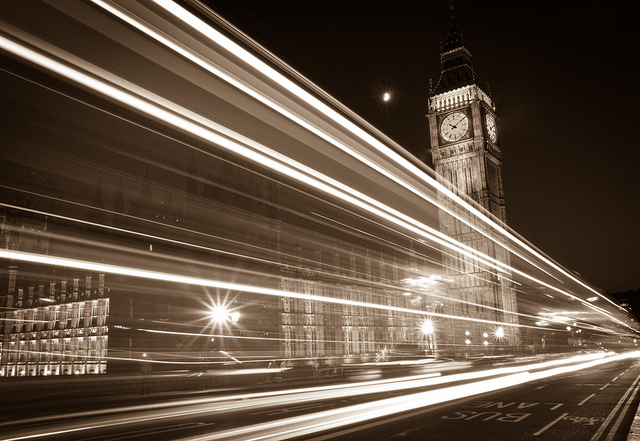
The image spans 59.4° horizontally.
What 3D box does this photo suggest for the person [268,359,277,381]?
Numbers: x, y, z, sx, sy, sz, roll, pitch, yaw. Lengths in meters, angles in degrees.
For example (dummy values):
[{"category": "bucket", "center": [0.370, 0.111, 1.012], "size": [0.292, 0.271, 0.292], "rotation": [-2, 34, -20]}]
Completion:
[{"category": "person", "center": [-2.534, 7.990, 29.926], "size": [0.474, 1.077, 1.523], "rotation": [2, -29, -5]}]
